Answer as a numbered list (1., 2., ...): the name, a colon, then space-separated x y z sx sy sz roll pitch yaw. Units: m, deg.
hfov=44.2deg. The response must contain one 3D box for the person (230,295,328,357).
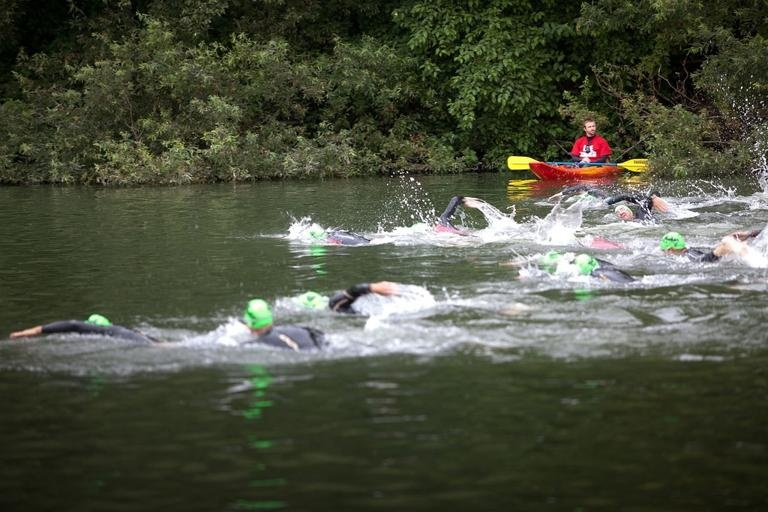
1. person: -1.267 0.911 11.975 0.969 0.315 0.612 8 9 16

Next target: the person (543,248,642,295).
1. person: 3.005 0.179 13.994 1.468 0.388 0.297 5 26 -23

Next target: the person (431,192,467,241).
1. person: 1.213 -0.700 17.239 0.581 0.877 0.386 -17 45 -28

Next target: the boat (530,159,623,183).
1. boat: 4.944 -2.247 24.740 2.998 0.405 0.807 1 -1 -34

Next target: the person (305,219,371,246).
1. person: -0.810 -0.389 16.898 0.903 0.311 1.259 -2 5 -26

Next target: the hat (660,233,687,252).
1. hat: 4.495 -0.231 14.831 0.399 0.268 0.260 -19 15 11

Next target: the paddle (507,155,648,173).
1. paddle: 5.339 -2.527 25.851 3.800 0.319 1.125 2 -1 -6
